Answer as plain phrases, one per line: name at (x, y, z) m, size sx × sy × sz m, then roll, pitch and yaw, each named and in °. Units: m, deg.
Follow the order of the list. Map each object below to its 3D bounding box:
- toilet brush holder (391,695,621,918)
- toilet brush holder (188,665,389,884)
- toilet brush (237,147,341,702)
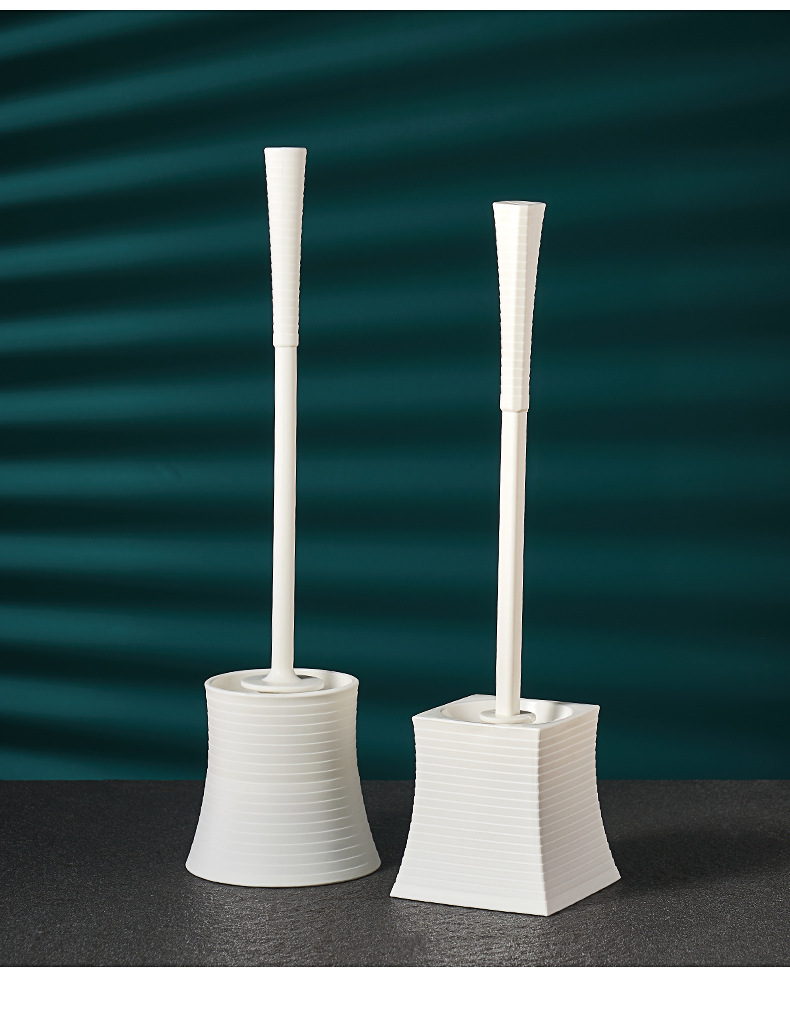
toilet brush holder at (0.165, 0.483, 1.927) m, size 0.403 × 0.308 × 0.349 m, roll 0°, pitch 1°, yaw 30°
toilet brush holder at (-0.226, 0.487, 1.996) m, size 0.371 × 0.307 × 0.358 m, roll 4°, pitch -11°, yaw -23°
toilet brush at (-0.197, -0.155, 2.001) m, size 0.127 × 0.959 × 0.195 m, roll 1°, pitch -4°, yaw -7°
